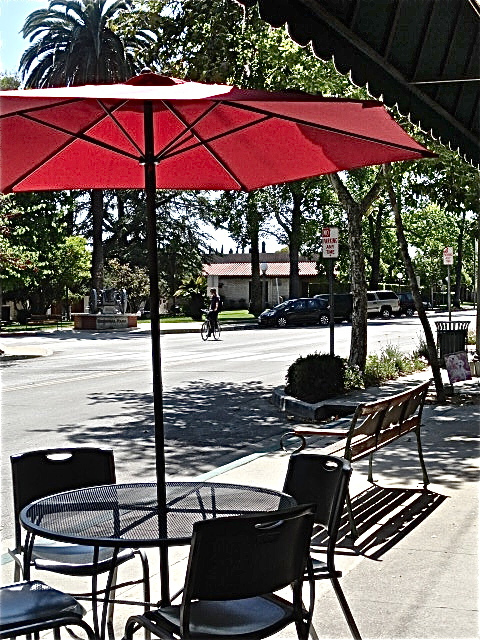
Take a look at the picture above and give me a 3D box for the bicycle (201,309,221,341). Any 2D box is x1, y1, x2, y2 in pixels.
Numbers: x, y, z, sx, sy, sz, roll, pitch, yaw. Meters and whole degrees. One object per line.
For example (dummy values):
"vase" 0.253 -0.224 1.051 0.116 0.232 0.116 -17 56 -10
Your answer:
"bicycle" -1.515 0.485 29.609 0.684 1.042 1.611 -2 -6 14

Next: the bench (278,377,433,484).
"bench" 1.243 1.204 5.958 0.767 1.107 2.028 0 0 34

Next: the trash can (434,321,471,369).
"trash can" 5.077 0.602 14.655 0.851 1.177 0.819 4 -4 -43

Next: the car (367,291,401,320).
"car" 11.862 -1.324 50.988 3.879 2.158 0.940 0 -1 -44
